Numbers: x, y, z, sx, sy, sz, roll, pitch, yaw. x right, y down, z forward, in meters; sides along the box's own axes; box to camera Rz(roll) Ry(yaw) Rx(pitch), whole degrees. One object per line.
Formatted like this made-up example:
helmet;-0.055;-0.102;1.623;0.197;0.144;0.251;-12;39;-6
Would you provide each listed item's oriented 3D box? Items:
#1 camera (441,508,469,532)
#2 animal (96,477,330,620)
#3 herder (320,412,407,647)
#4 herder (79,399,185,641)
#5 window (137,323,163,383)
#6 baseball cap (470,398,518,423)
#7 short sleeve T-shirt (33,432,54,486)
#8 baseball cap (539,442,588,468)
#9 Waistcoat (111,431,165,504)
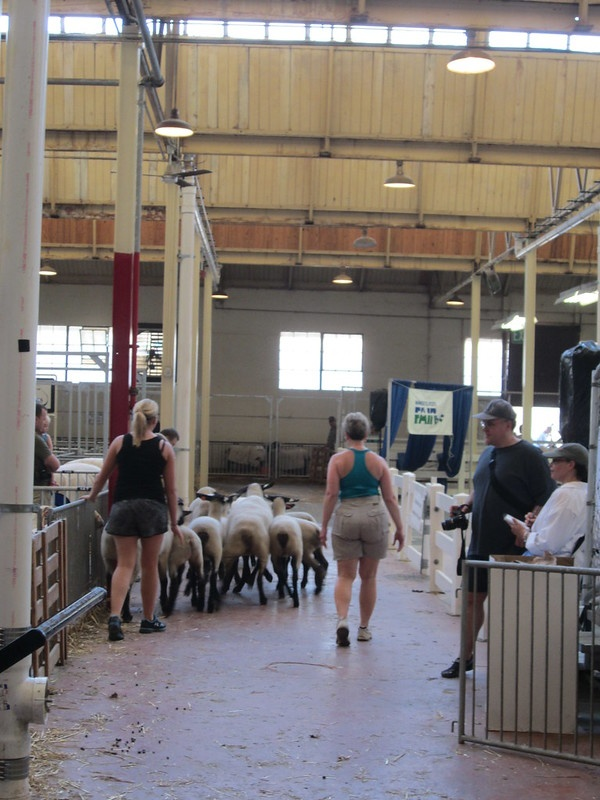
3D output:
camera;1.051;0.838;8.099;0.171;0.112;0.175;-9;0;0
animal;-0.387;1.321;10.457;1.149;1.119;1.173;2;2;-11
herder;0.476;0.962;8.817;0.625;1.677;0.508;6;-9;-26
herder;-1.209;0.853;8.629;0.689;1.704;0.640;2;-6;-4
window;-3.445;-1.049;28.201;0.784;1.201;0.813;7;5;2
baseball cap;1.263;0.093;7.641;0.206;0.118;0.149;9;-2;0
short sleeve T-shirt;-2.164;0.534;10.204;0.134;0.430;0.517;3;-1;-10
baseball cap;1.635;0.343;7.322;0.206;0.109;0.142;8;-7;11
Waistcoat;-1.115;0.501;8.523;0.358;0.452;0.234;3;-1;-8
